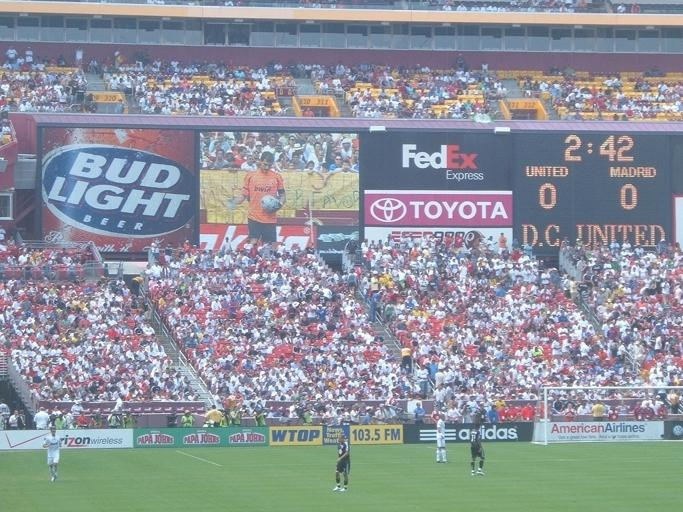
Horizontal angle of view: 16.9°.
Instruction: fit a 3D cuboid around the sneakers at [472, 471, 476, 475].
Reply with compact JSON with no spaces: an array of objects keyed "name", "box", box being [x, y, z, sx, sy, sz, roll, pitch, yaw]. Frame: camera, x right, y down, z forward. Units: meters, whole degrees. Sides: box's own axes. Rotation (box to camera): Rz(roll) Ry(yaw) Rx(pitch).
[{"name":"sneakers","box":[6.668,11.073,117.250,0.224,0.226,0.219,1,-4,-13]}]
